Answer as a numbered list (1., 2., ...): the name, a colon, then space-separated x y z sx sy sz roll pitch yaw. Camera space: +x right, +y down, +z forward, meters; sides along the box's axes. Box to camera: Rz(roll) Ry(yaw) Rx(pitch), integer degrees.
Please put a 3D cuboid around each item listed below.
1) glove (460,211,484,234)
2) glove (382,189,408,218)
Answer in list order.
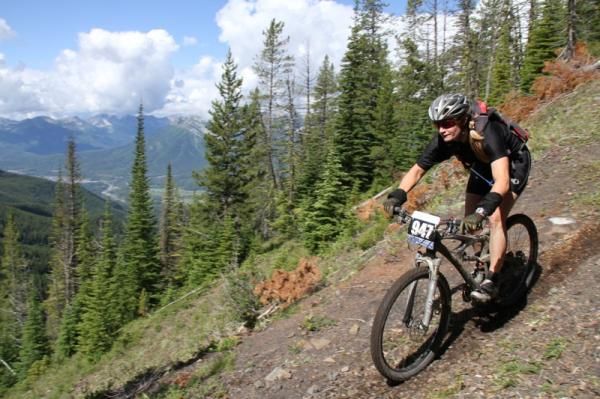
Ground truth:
1. glove: 5.661 0.801 15.247 0.844 0.600 0.320 -40 -5 -28
2. glove: 3.410 0.155 15.936 0.968 0.464 0.808 -43 43 -6
